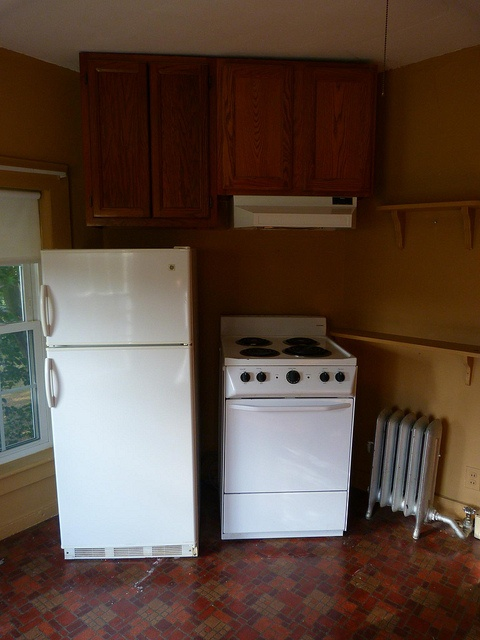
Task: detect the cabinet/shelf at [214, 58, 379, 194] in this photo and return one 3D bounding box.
[{"bbox_3d":[0.261,-0.869,2.526,0.779,0.716,0.291,1,-6,0],"label":"cabinet/shelf"}]

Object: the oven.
[{"bbox_3d":[0.171,0.688,2.645,0.560,0.867,0.653,0,-1,-5],"label":"oven"}]

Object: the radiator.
[{"bbox_3d":[0.862,0.745,2.519,0.542,0.641,0.170,15,29,36],"label":"radiator"}]

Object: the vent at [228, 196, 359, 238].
[{"bbox_3d":[0.261,-0.524,2.464,0.607,0.146,0.094,-1,8,-8],"label":"vent"}]

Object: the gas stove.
[{"bbox_3d":[0.214,0.241,2.453,0.611,0.192,0.366,-1,8,-4],"label":"gas stove"}]

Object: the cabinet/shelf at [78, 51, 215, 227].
[{"bbox_3d":[-0.449,-0.820,2.522,0.638,0.840,0.384,-1,-2,-6],"label":"cabinet/shelf"}]
